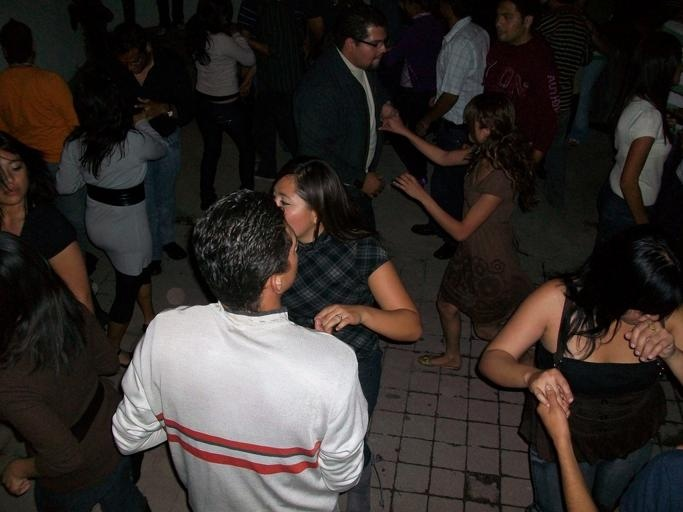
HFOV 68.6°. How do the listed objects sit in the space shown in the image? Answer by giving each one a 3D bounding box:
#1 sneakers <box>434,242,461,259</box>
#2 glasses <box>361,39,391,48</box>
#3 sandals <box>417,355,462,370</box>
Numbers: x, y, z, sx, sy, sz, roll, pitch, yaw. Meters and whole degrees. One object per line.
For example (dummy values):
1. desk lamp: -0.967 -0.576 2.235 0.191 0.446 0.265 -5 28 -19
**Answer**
1. sneakers: 1.072 -0.038 5.070 0.160 0.195 0.197 47 7 11
2. glasses: 0.248 -1.542 3.608 0.236 0.053 0.064 -21 41 -29
3. sandals: 0.798 0.865 4.053 0.334 0.086 0.127 9 41 9
